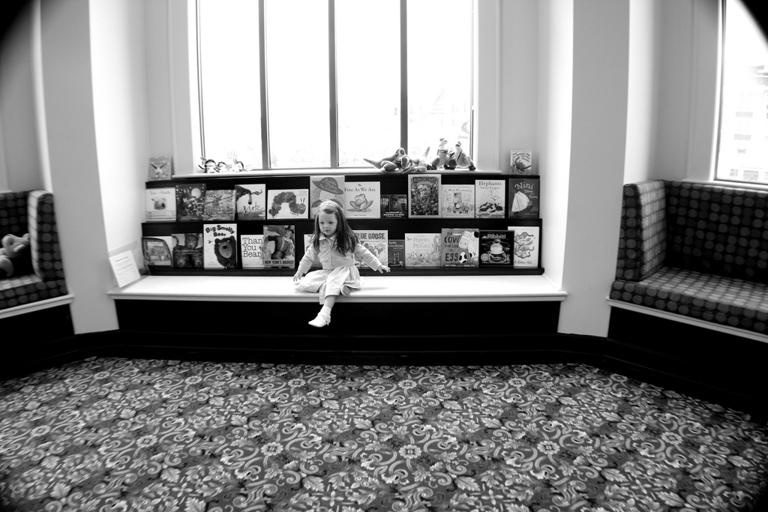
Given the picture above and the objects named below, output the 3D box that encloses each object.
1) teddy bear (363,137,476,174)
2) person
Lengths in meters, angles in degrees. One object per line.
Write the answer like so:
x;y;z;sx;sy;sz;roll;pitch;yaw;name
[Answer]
0.396;-1.029;5.303;1.074;0.321;0.279;-3;13;-3;teddy bear
-0.415;-0.003;4.826;0.762;0.994;0.832;-8;13;-23;person
